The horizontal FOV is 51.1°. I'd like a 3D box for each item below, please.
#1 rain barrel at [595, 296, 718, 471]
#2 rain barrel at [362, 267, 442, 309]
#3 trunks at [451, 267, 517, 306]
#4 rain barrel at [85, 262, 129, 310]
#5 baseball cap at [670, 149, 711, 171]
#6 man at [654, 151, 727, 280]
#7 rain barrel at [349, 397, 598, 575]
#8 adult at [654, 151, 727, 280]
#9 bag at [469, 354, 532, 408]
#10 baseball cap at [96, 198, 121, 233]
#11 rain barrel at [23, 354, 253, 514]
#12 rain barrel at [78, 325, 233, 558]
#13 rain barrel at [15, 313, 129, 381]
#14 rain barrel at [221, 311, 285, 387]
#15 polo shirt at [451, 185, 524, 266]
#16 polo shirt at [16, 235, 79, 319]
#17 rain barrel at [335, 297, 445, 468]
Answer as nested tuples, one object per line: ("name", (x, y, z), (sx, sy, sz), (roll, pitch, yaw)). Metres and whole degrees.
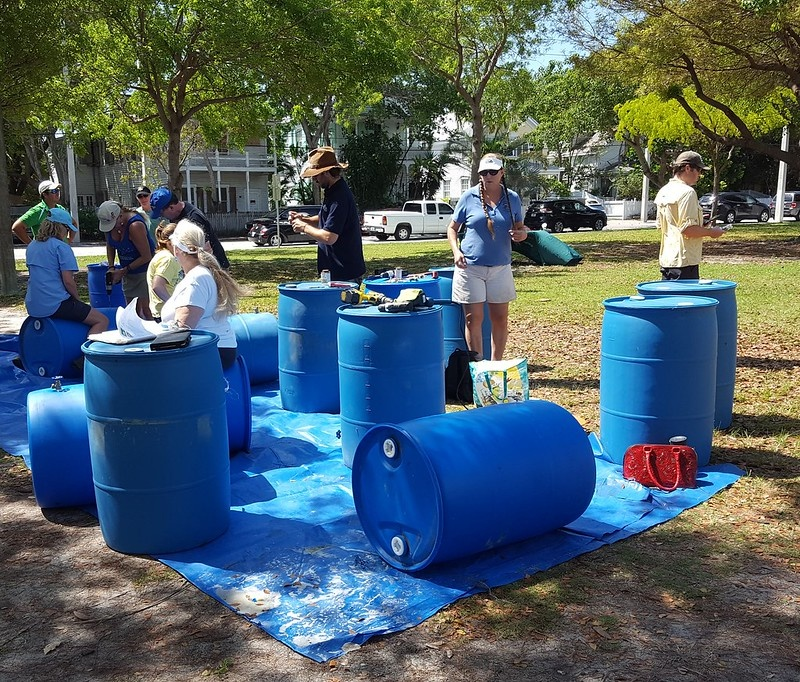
("rain barrel", (1.907, 0.300, 6.182), (0.841, 1.183, 0.831), (-2, 8, 0))
("rain barrel", (0.038, -0.520, 7.548), (0.479, 0.491, 0.486), (-1, 6, -3))
("trunks", (0.777, -0.510, 7.561), (0.584, 0.410, 0.332), (-2, 5, -6))
("rain barrel", (-4.113, -0.734, 11.683), (0.413, 0.594, 0.393), (3, 16, -1))
("baseball cap", (2.551, -1.565, 7.312), (0.282, 0.156, 0.201), (1, 15, -5))
("man", (2.586, -1.131, 7.513), (0.531, 1.182, 0.903), (0, 8, 13))
("rain barrel", (0.459, 0.831, 4.900), (1.348, 0.860, 0.675), (-4, 8, -18))
("adult", (2.578, -1.134, 7.511), (0.565, 1.190, 0.993), (1, 8, 16))
("bag", (0.794, 0.345, 6.534), (0.465, 0.425, 0.335), (-4, 4, 35))
("baseball cap", (-3.156, -1.364, 9.051), (0.246, 0.370, 0.185), (-2, -19, -2))
("rain barrel", (-1.778, 0.675, 5.690), (0.984, 1.343, 1.111), (-1, 2, 34))
("rain barrel", (-1.474, 0.619, 5.261), (0.878, 1.273, 0.849), (-2, 9, 0))
("rain barrel", (-3.428, 0.008, 9.007), (0.688, 0.695, 0.969), (13, 7, 31))
("rain barrel", (-1.427, 0.076, 8.528), (0.709, 0.742, 0.680), (-3, 4, -13))
("polo shirt", (0.791, -1.050, 7.570), (0.617, 0.736, 0.340), (-1, 8, 2))
("polo shirt", (-3.631, -0.662, 8.656), (0.676, 0.827, 0.459), (3, 7, 22))
("rain barrel", (-0.055, 0.334, 6.343), (0.851, 1.240, 0.874), (-1, 10, 0))
